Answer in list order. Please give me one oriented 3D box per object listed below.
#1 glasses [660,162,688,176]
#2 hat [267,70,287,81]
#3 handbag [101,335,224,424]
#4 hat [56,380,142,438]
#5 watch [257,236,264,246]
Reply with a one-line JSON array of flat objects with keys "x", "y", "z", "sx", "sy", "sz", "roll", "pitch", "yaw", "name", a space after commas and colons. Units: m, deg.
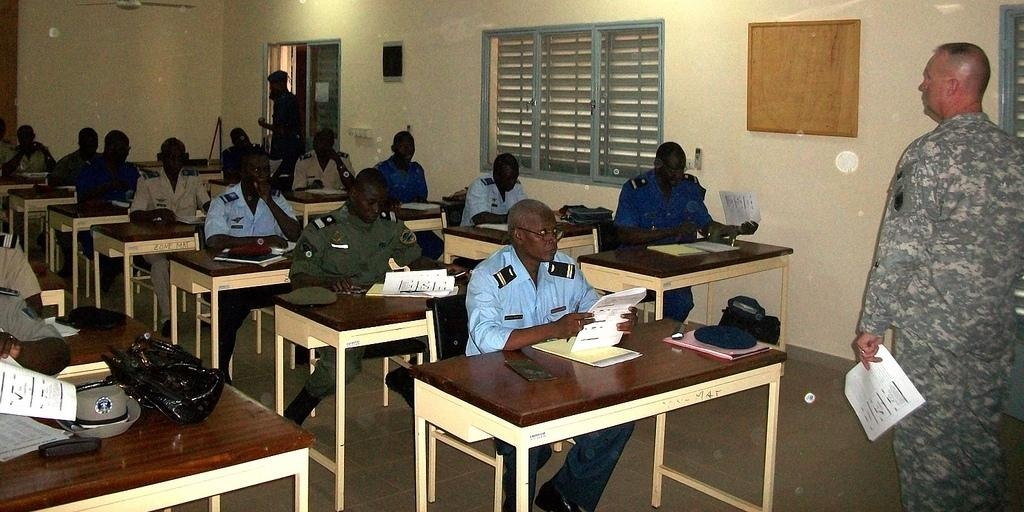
[{"x": 1.511, "y": -0.817, "z": 6.073, "sx": 0.170, "sy": 0.156, "sz": 0.173, "roll": -10, "pitch": 16, "yaw": -33, "name": "glasses"}, {"x": -3.627, "y": -2.763, "z": 10.074, "sx": 0.381, "sy": 0.110, "sz": 0.315, "roll": -6, "pitch": 10, "yaw": -7, "name": "hat"}, {"x": -1.825, "y": 0.678, "z": 3.482, "sx": 0.616, "sy": 0.203, "sz": 0.360, "roll": 23, "pitch": 60, "yaw": 24, "name": "handbag"}, {"x": -2.034, "y": 0.779, "z": 3.245, "sx": 0.323, "sy": 0.099, "sz": 0.287, "roll": 15, "pitch": 20, "yaw": 22, "name": "hat"}, {"x": -2.185, "y": -0.122, "z": 5.633, "sx": 0.074, "sy": 0.063, "sz": 0.018, "roll": -5, "pitch": -25, "yaw": -1, "name": "watch"}]
